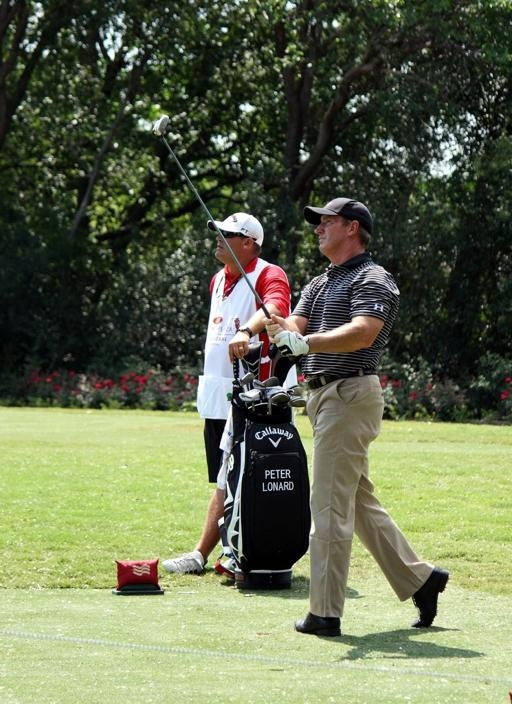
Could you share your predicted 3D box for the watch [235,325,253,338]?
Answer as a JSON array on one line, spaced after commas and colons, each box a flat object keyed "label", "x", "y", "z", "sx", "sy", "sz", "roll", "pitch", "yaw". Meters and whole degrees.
[{"label": "watch", "x": -0.067, "y": -0.112, "z": 6.197, "sx": 0.080, "sy": 0.072, "sz": 0.051, "roll": 11, "pitch": 16, "yaw": 8}]

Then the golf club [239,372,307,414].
[{"label": "golf club", "x": 0.065, "y": 0.224, "z": 6.239, "sx": 0.253, "sy": 0.131, "sz": 0.263, "roll": 4, "pitch": 11, "yaw": 1}]

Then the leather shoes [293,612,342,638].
[{"label": "leather shoes", "x": 0.271, "y": 1.192, "z": 5.146, "sx": 0.210, "sy": 0.143, "sz": 0.082, "roll": 7, "pitch": -2, "yaw": 34}]

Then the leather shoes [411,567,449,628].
[{"label": "leather shoes", "x": 0.781, "y": 1.124, "z": 5.353, "sx": 0.147, "sy": 0.316, "sz": 0.106, "roll": 8, "pitch": 7, "yaw": -8}]

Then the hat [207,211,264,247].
[{"label": "hat", "x": -0.111, "y": -0.699, "z": 6.608, "sx": 0.290, "sy": 0.144, "sz": 0.180, "roll": 15, "pitch": 5, "yaw": -12}]

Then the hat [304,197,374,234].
[{"label": "hat", "x": 0.386, "y": -0.660, "z": 5.528, "sx": 0.290, "sy": 0.150, "sz": 0.182, "roll": 12, "pitch": 3, "yaw": 1}]

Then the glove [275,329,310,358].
[{"label": "glove", "x": 0.149, "y": -0.038, "z": 5.114, "sx": 0.132, "sy": 0.098, "sz": 0.054, "roll": 22, "pitch": 47, "yaw": 28}]

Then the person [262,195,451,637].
[{"label": "person", "x": 0.444, "y": 0.262, "z": 5.346, "sx": 0.832, "sy": 1.996, "sz": 0.642, "roll": 3, "pitch": -6, "yaw": 6}]
